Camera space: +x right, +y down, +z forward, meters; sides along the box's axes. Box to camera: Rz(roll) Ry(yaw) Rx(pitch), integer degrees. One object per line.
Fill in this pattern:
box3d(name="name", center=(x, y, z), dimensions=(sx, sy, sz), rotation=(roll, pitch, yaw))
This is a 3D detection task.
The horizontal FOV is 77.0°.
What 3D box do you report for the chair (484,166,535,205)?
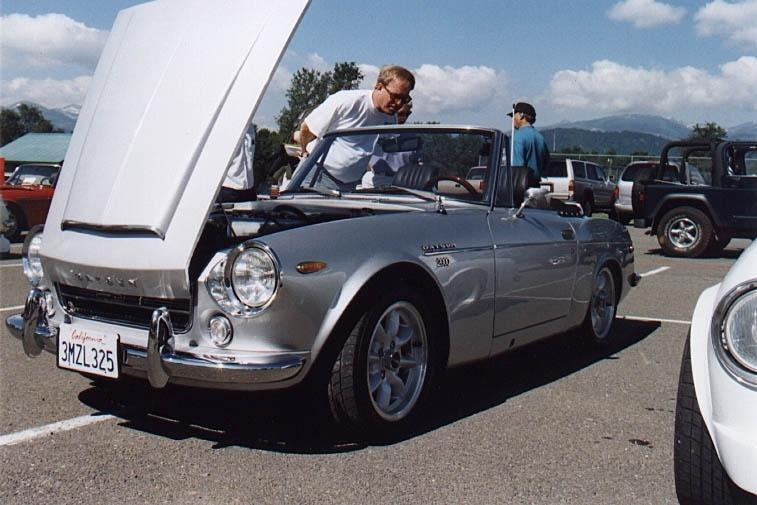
box3d(name="chair", center=(1.074, -0.543, 3.932), dimensions=(0.254, 0.218, 0.440), rotation=(6, 11, 40))
